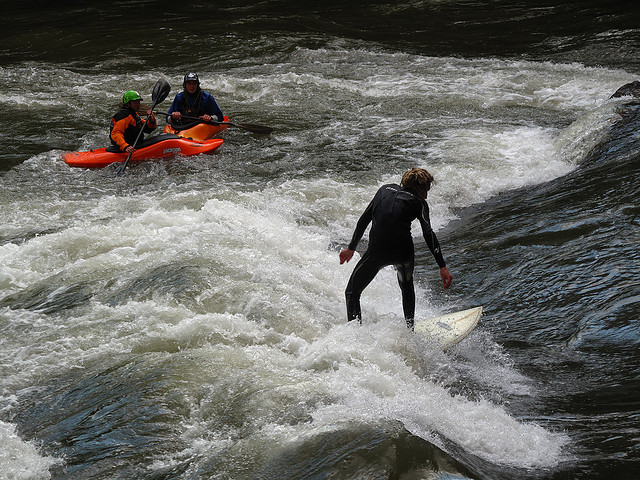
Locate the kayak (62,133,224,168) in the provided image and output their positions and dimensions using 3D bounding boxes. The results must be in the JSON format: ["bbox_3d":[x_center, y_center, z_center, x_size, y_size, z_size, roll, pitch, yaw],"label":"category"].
[{"bbox_3d":[-3.319,-1.696,14.974,2.869,0.479,0.494,-5,30,-14],"label":"kayak"}]

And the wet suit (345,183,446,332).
[{"bbox_3d":[1.061,0.201,10.455,1.692,2.018,0.996,9,5,16],"label":"wet suit"}]

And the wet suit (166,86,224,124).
[{"bbox_3d":[-2.487,-2.716,15.955,1.355,0.665,0.774,1,13,-1],"label":"wet suit"}]
